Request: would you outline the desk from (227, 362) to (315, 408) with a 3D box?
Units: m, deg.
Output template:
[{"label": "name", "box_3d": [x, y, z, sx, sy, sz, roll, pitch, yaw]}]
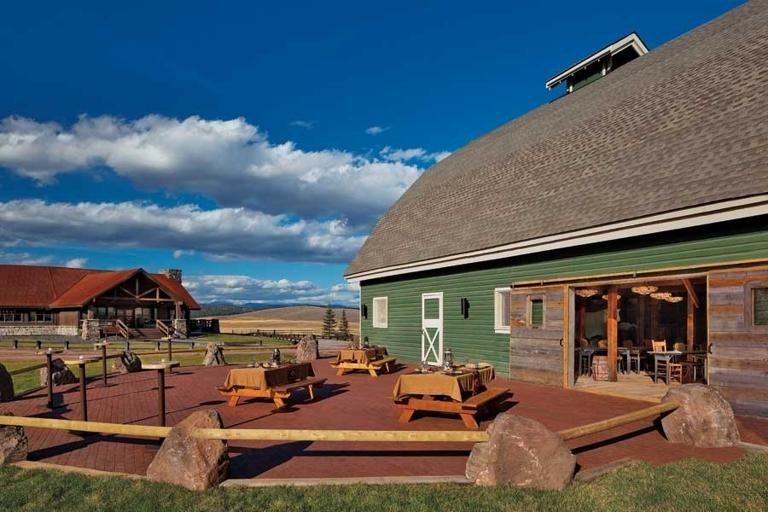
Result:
[{"label": "desk", "box_3d": [-3.188, 3.552, 16.072, 2.206, 0.794, 2.624, -2, -6, 16]}]

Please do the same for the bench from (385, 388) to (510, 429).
[{"label": "bench", "box_3d": [1.659, 3.684, 14.344, 2.063, 0.709, 2.165, 1, 4, 31]}]

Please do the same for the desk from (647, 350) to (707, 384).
[{"label": "desk", "box_3d": [9.984, 3.781, 19.483, 1.569, 0.569, 1.983, -1, -4, 25]}]

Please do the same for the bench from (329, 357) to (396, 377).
[{"label": "bench", "box_3d": [-0.860, 3.920, 20.716, 1.874, 0.618, 1.570, 1, 4, 23]}]

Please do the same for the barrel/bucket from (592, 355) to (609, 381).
[{"label": "barrel/bucket", "box_3d": [7.177, 3.665, 19.020, 0.496, 0.747, 0.757, 0, 5, 18]}]

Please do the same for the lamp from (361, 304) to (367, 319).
[{"label": "lamp", "box_3d": [-0.996, 2.464, 26.343, 0.135, 0.678, 0.538, -5, 6, -31]}]

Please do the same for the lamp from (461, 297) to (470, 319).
[{"label": "lamp", "box_3d": [2.900, 1.809, 20.520, 0.135, 0.734, 0.376, -5, 6, -33]}]
